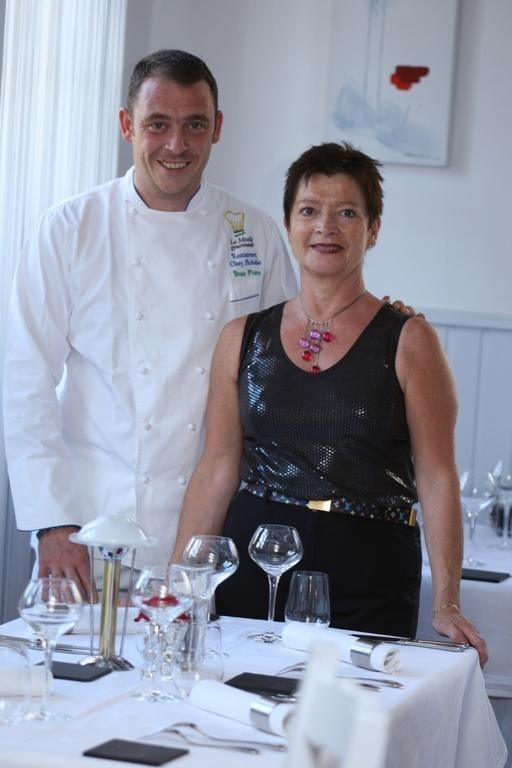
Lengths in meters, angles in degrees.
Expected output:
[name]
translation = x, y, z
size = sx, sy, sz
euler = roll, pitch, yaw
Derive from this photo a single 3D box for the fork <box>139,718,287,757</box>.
[fork]
translation = -0.035, 0.377, 0.813
size = 0.135, 0.004, 0.047
euler = -2, 3, 33
